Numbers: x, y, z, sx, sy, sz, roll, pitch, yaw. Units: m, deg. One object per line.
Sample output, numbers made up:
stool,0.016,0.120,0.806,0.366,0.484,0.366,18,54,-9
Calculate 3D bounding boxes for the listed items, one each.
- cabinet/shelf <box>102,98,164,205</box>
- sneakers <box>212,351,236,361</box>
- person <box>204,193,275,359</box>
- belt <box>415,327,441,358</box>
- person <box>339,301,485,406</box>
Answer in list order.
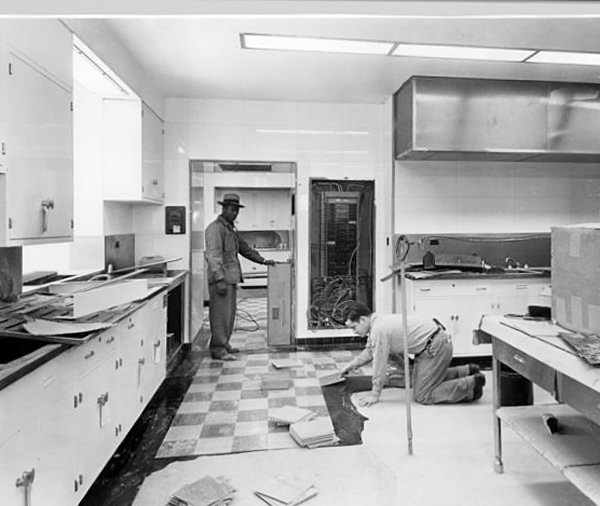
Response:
cabinet/shelf,-1.464,-0.871,4.519,0.345,0.822,0.942,1,4,-1
sneakers,-0.724,0.981,5.038,0.257,0.121,0.089,-2,-1,3
person,-0.755,0.224,5.184,0.347,1.571,0.666,-1,8,-3
belt,0.957,0.677,3.932,0.073,0.211,0.159,34,11,10
person,0.836,0.782,4.090,1.057,0.762,0.507,-3,6,13
